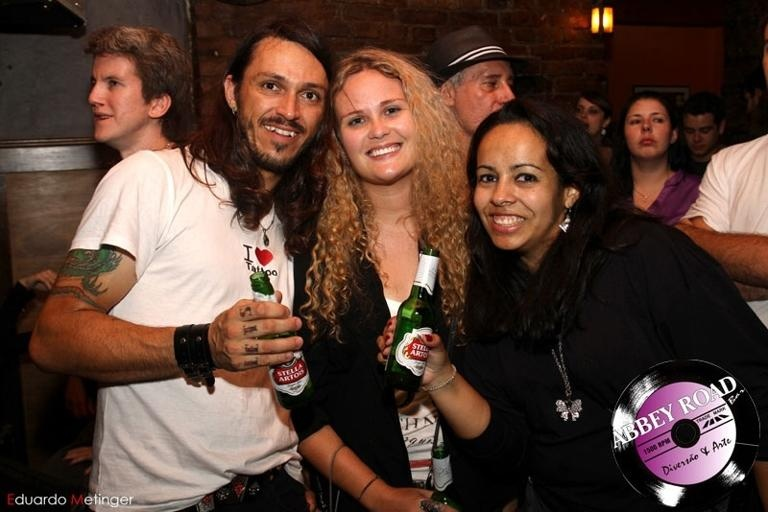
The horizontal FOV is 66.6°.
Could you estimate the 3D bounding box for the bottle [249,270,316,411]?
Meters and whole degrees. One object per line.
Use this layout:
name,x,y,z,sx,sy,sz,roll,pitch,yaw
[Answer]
bottle,-0.399,0.351,2.341,0.150,0.612,0.173,8,17,38

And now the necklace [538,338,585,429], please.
necklace,0.790,0.549,2.574,0.083,0.336,0.149,-9,15,-25

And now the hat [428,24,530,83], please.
hat,0.562,-1.337,3.882,0.576,0.211,0.513,-26,-3,42

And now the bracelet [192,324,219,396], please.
bracelet,-0.683,0.402,2.282,0.084,0.222,0.195,-11,38,0

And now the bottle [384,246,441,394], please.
bottle,0.129,0.266,2.499,0.177,0.606,0.307,5,15,30

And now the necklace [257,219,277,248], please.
necklace,-0.551,-0.106,2.707,0.020,0.182,0.098,-19,-26,37

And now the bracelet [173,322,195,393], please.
bracelet,-0.774,0.366,2.252,0.070,0.188,0.066,-5,13,-10
